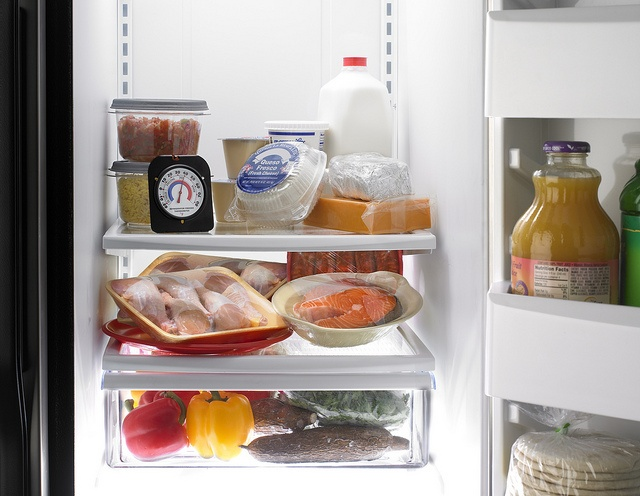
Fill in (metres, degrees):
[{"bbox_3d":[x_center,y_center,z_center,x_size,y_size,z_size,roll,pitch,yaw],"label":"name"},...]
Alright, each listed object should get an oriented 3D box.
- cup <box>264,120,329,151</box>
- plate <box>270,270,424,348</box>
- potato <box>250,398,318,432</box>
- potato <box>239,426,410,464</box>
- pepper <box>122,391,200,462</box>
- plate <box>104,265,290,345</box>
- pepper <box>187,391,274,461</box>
[{"bbox_3d":[-0.046,-0.235,1.224,0.082,0.063,0.085,0,7,0],"label":"cup"},{"bbox_3d":[0.063,0.095,1.142,0.205,0.065,0.197,2,12,5],"label":"plate"},{"bbox_3d":[-0.077,0.349,1.163,0.119,0.065,0.041,8,-12,11],"label":"potato"},{"bbox_3d":[0.000,0.404,1.142,0.254,0.067,0.059,-1,-34,-3],"label":"potato"},{"bbox_3d":[-0.324,0.371,1.134,0.074,0.065,0.112,42,54,14],"label":"pepper"},{"bbox_3d":[-0.241,0.124,1.138,0.206,0.057,0.207,0,20,-30],"label":"plate"},{"bbox_3d":[-0.213,0.364,1.180,0.136,0.165,0.136,-5,2,10],"label":"pepper"}]
